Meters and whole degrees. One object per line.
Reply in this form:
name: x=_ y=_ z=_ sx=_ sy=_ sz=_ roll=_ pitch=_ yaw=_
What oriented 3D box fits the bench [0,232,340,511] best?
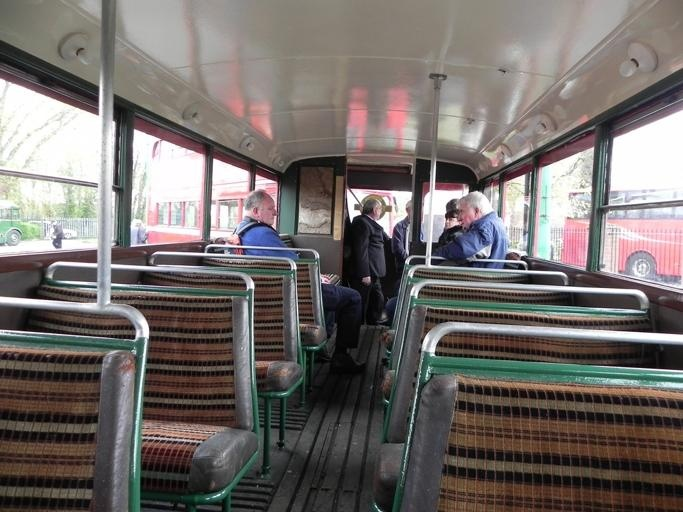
bench: x=-0.954 y=0.672 z=2.951 sx=1.644 sy=1.660 sz=0.908 roll=0 pitch=-6 yaw=6

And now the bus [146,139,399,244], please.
bus: x=-0.891 y=-1.025 z=8.732 sx=4.684 sy=2.704 sz=1.348 roll=1 pitch=5 yaw=-2

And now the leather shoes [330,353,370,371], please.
leather shoes: x=0.096 y=1.272 z=6.054 sx=0.358 sy=0.172 sz=0.204 roll=2 pitch=2 yaw=-13

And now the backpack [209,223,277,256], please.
backpack: x=-1.219 y=-0.154 z=6.387 sx=0.642 sy=0.694 sz=0.424 roll=5 pitch=-5 yaw=-21
